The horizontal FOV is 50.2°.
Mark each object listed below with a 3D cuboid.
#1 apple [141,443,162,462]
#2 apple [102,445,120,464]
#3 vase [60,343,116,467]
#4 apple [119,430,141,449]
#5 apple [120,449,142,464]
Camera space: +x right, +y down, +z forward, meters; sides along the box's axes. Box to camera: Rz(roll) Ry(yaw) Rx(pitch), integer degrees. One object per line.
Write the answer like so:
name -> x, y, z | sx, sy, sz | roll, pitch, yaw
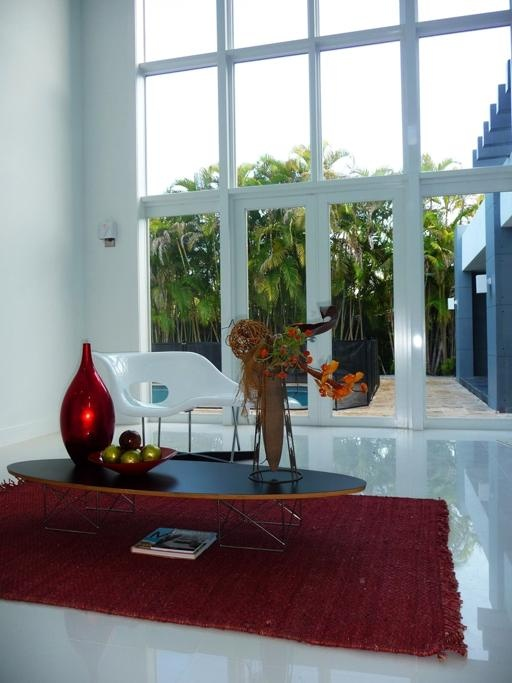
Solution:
apple -> -0.386, 0.404, 2.009 | 0.049, 0.056, 0.063 | -3, 20, -18
apple -> -0.537, 0.407, 2.001 | 0.046, 0.054, 0.063 | 14, 5, -34
vase -> -0.713, 0.255, 2.300 | 0.205, 0.497, 0.190 | -1, -2, 5
apple -> -0.486, 0.363, 2.084 | 0.067, 0.078, 0.070 | 1, -4, -39
apple -> -0.454, 0.414, 1.970 | 0.073, 0.037, 0.090 | -1, -2, -14
